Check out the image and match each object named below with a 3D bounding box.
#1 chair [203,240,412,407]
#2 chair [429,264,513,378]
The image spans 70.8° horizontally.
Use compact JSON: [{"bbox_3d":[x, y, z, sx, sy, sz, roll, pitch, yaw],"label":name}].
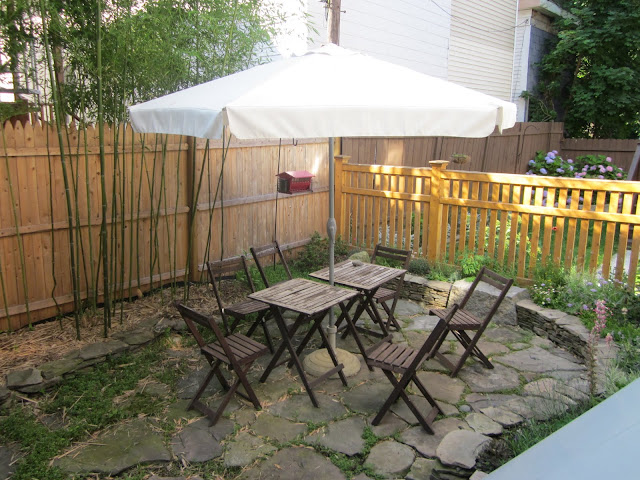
[{"bbox_3d":[-0.383,1.075,5.755,2.256,1.652,1.473,12,18,39],"label":"chair"},{"bbox_3d":[1.995,1.089,5.849,0.966,1.607,0.845,3,11,-10],"label":"chair"}]
